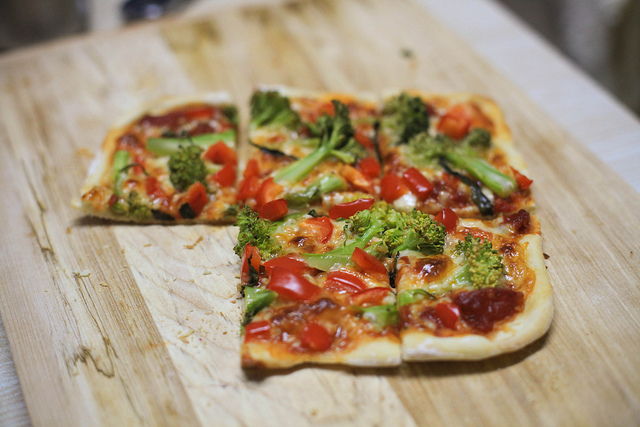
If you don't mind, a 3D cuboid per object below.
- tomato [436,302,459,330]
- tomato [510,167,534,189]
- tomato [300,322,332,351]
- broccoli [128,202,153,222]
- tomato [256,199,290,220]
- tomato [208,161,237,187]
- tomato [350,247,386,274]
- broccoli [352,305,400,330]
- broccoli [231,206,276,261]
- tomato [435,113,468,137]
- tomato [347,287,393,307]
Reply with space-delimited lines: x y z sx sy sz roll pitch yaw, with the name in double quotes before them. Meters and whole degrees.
"tomato" 1.096 0.877 4.825 0.191 0.119 0.189 7 61 9
"tomato" 2.032 -0.343 5.649 0.104 0.141 0.196 -45 68 0
"tomato" -0.028 1.072 4.778 0.233 0.130 0.216 34 68 21
"broccoli" -1.732 -0.015 5.365 0.156 0.072 0.177 -11 100 -7
"tomato" -0.439 -0.030 5.269 0.220 0.186 0.092 -30 89 25
"tomato" -0.977 -0.387 5.686 0.229 0.169 0.208 -42 23 22
"tomato" 0.439 0.451 5.015 0.319 0.214 0.163 26 65 18
"broccoli" 0.490 0.884 4.800 0.395 0.108 0.192 -3 60 3
"broccoli" -0.627 0.178 5.093 0.428 0.175 0.431 32 83 18
"tomato" 1.400 -0.924 5.891 0.309 0.209 0.235 5 79 9
"tomato" 0.434 0.730 4.874 0.371 0.082 0.171 -5 60 1
